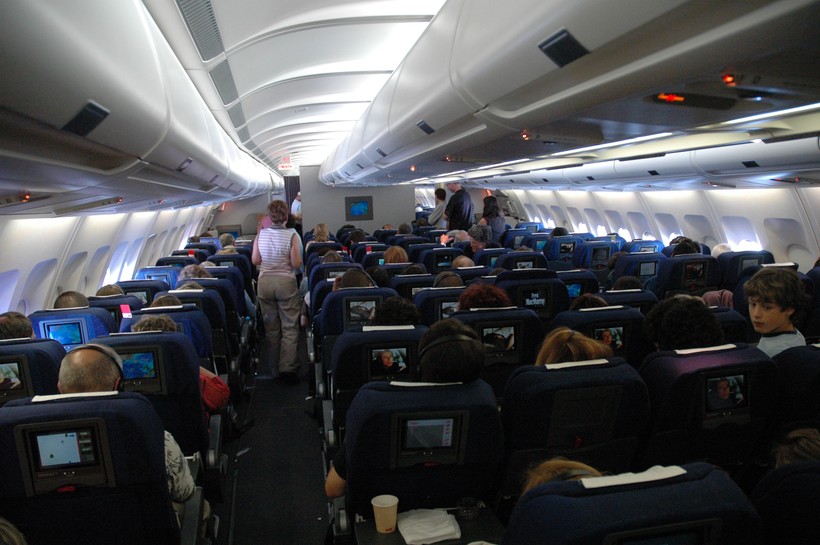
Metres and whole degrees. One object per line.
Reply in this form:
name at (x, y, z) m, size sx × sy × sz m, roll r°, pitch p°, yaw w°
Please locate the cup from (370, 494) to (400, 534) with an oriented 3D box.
cup at (-0.122, 1.181, 2.716) m, size 0.127 × 0.173 × 0.130 m, roll 1°, pitch 12°, yaw 0°
